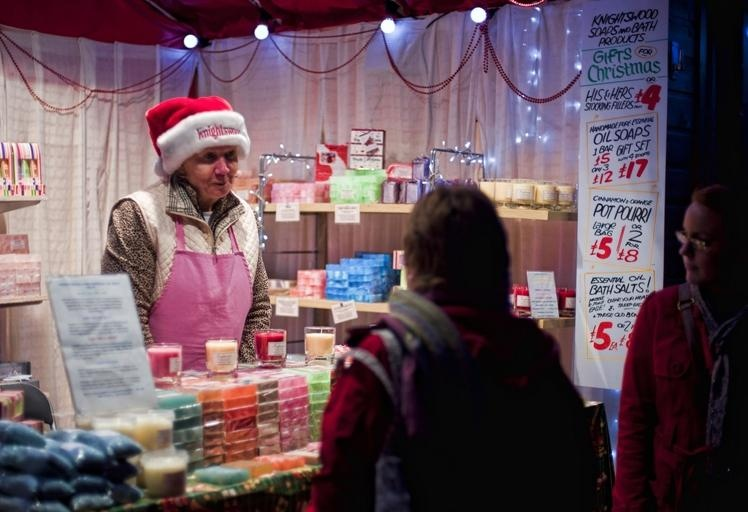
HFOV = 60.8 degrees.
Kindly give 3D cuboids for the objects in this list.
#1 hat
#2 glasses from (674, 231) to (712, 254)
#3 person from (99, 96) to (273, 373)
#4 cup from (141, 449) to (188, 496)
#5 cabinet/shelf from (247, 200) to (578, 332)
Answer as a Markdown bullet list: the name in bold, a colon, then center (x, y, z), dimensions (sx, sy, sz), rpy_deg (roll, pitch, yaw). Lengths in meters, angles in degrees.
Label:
- **hat**: center (-0.846, -0.587, 3.026), dimensions (0.436, 0.295, 0.361), rpy_deg (-10, 3, 27)
- **glasses**: center (1.151, -0.039, 2.266), dimensions (0.074, 0.023, 0.074), rpy_deg (22, 3, -30)
- **person**: center (-0.859, -0.127, 2.922), dimensions (0.722, 1.125, 0.448), rpy_deg (-3, 1, -14)
- **cup**: center (-0.627, 0.650, 1.905), dimensions (0.130, 0.117, 0.132), rpy_deg (-1, -5, 0)
- **cabinet/shelf**: center (0.781, 0.179, 5.035), dimensions (2.252, 0.809, 2.452), rpy_deg (5, -2, -40)
